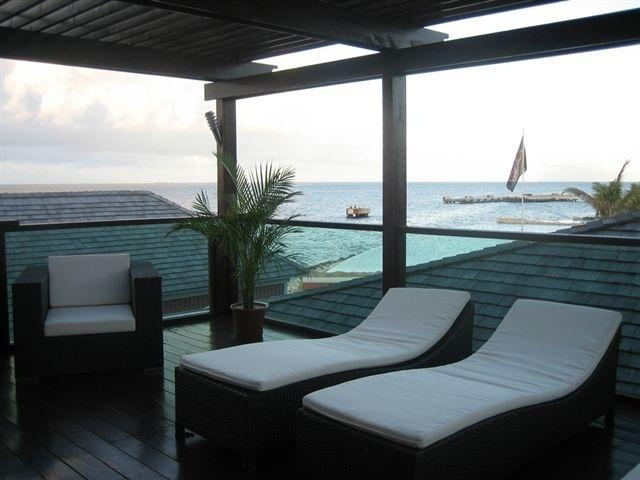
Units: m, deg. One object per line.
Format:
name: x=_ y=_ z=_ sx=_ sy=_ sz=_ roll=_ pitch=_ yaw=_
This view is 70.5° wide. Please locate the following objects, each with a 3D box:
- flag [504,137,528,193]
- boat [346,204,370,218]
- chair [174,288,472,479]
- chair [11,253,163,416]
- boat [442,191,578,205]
flag: x=12.241 y=-4.679 z=27.960 sx=1.112 sy=3.044 sz=2.976 roll=0 pitch=6 yaw=9
boat: x=2.712 y=-1.966 z=32.488 sx=1.167 sy=0.640 sz=1.282 roll=5 pitch=9 yaw=39
chair: x=0.569 y=0.907 z=3.226 sx=0.919 sy=0.557 sz=1.608 roll=6 pitch=17 yaw=21
chair: x=-2.231 y=0.676 z=4.383 sx=1.299 sy=0.785 sz=0.861 roll=2 pitch=13 yaw=-31
boat: x=12.399 y=-2.645 z=29.738 sx=7.845 sy=0.776 sz=3.106 roll=2 pitch=7 yaw=25
